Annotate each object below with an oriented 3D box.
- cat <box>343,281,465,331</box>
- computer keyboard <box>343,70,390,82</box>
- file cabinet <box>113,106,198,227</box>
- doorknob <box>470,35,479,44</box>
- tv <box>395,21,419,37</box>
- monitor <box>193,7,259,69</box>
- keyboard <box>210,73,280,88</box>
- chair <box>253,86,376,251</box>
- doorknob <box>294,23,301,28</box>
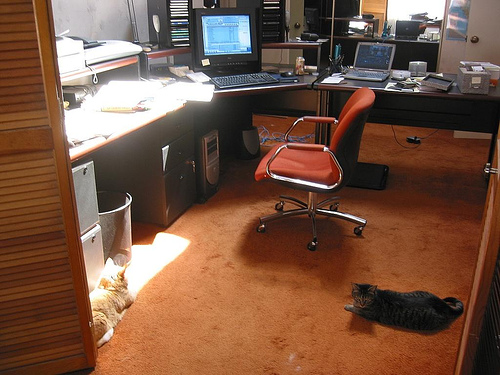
[{"bbox_3d":[0.889,0.676,2.158,0.514,0.190,0.309,11,27,22],"label":"cat"},{"bbox_3d":[1.090,-1.041,3.558,0.398,0.061,0.230,8,25,17],"label":"computer keyboard"},{"bbox_3d":[-0.704,-0.157,2.747,0.649,0.988,0.537,8,24,15],"label":"file cabinet"},{"bbox_3d":[2.582,-1.697,4.367,0.075,0.078,0.050,0,17,26],"label":"doorknob"},{"bbox_3d":[2.346,-2.368,5.675,0.305,0.220,0.218,4,21,22],"label":"tv"},{"bbox_3d":[-0.207,-1.367,3.495,0.617,0.510,0.092,-9,24,-21],"label":"monitor"},{"bbox_3d":[-0.042,-0.939,3.318,0.617,0.074,0.281,-13,27,-28],"label":"keyboard"},{"bbox_3d":[0.461,-0.183,2.805,0.775,1.050,0.768,13,29,28],"label":"chair"},{"bbox_3d":[0.747,-2.529,5.956,0.099,0.064,0.090,3,23,5],"label":"doorknob"}]
